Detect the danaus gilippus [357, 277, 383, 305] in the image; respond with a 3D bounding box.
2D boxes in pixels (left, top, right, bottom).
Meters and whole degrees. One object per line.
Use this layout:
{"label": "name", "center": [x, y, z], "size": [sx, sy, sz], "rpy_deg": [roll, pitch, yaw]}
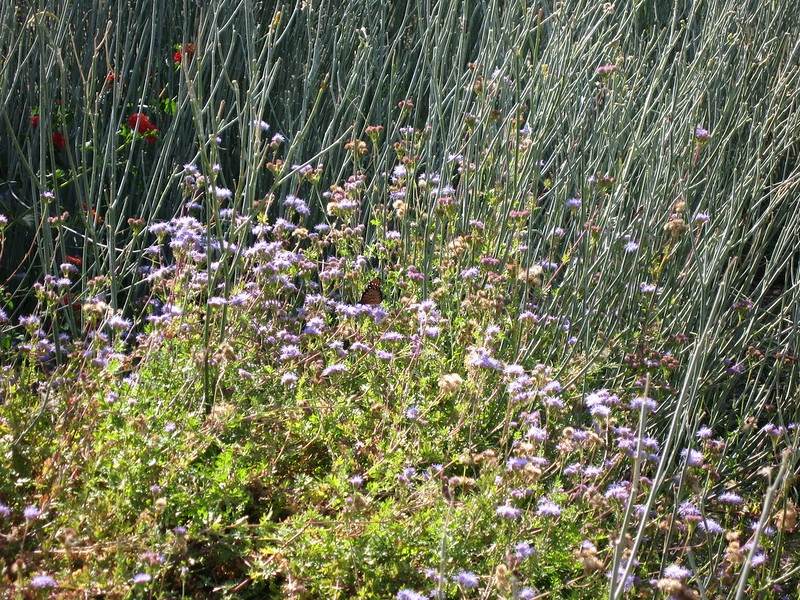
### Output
{"label": "danaus gilippus", "center": [-0.119, -0.022, 6.675], "size": [0.032, 0.087, 0.101], "rpy_deg": [20, 78, 0]}
